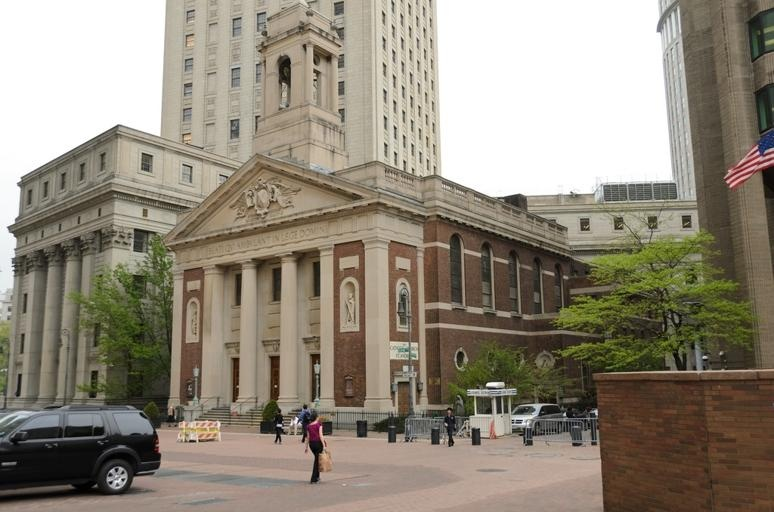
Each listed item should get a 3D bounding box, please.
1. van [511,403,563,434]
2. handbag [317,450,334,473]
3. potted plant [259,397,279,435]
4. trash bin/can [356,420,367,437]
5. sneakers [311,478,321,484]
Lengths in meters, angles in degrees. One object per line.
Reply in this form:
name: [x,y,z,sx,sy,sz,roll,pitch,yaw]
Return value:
van: [8.930,9.774,50.127,1.866,1.225,3.455,-16,-24,42]
handbag: [-2.494,8.170,32.771,0.501,0.770,0.336,4,-18,-26]
potted plant: [-7.972,10.523,53.807,1.430,1.959,1.407,7,-6,-10]
trash bin/can: [-1.467,10.218,48.471,0.572,1.036,0.490,0,-16,-13]
sneakers: [-2.867,9.029,32.930,0.159,0.187,0.445,-1,-2,34]
